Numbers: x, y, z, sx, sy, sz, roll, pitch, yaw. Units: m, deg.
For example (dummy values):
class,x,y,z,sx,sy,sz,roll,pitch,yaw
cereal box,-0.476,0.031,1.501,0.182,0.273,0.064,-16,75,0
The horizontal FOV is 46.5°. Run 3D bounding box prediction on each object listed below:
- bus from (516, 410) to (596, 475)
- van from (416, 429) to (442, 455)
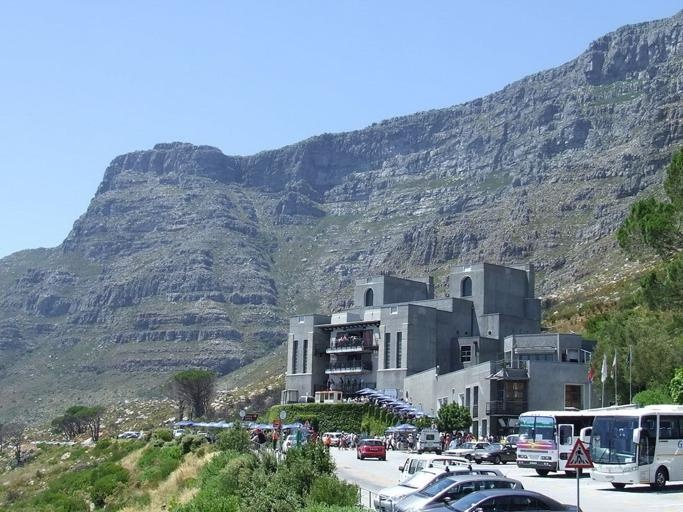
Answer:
class,x,y,z,sx,sy,sz,roll,pitch,yaw
bus,18.539,14.211,63.446,9.628,4.103,3.981,1,-3,-37
van,8.555,17.967,76.844,2.012,1.880,3.583,1,-5,3
